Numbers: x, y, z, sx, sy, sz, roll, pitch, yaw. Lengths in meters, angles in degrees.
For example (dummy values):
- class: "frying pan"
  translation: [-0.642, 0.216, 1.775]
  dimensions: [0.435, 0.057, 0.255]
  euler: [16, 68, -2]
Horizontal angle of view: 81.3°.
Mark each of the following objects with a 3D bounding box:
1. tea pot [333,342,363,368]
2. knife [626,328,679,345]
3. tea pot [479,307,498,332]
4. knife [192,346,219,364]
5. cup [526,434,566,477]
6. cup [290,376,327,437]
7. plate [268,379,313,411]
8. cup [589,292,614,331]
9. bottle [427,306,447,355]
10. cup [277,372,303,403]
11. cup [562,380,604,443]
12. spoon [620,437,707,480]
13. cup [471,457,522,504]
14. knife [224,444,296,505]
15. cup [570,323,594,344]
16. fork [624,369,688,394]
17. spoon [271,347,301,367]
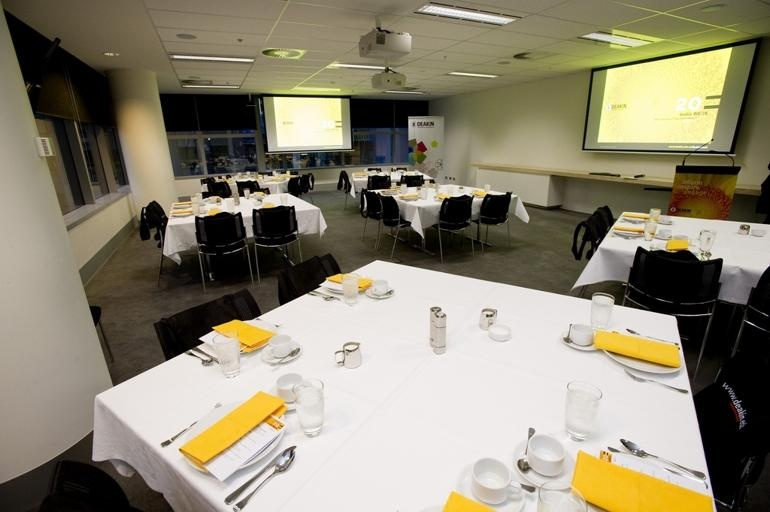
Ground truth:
- class: "tea pot"
  translation: [-0.234, 0.619, 2.884]
  dimensions: [0.174, 0.139, 0.159]
  euler: [-3, 18, -6]
- class: "knife"
  translation: [1.771, 0.533, 2.969]
  dimensions: [0.225, 0.035, 0.032]
  euler: [14, 39, 39]
- class: "tea pot"
  translation: [0.714, 0.430, 3.122]
  dimensions: [0.106, 0.128, 0.140]
  euler: [2, 7, 9]
- class: "knife"
  translation: [-1.178, 0.648, 2.947]
  dimensions: [0.069, 0.051, 0.325]
  euler: [-14, 19, -35]
- class: "cup"
  translation: [0.854, 1.076, 2.448]
  dimensions: [0.202, 0.121, 0.200]
  euler: [-4, 27, 2]
- class: "cup"
  translation: [-0.431, 0.872, 2.601]
  dimensions: [0.177, 0.245, 0.215]
  euler: [-4, 18, -10]
- class: "plate"
  translation: [-0.553, 0.798, 2.660]
  dimensions: [0.141, 0.101, 0.233]
  euler: [3, 9, 11]
- class: "cup"
  translation: [1.498, 0.360, 3.105]
  dimensions: [0.148, 0.230, 0.330]
  euler: [9, 20, 27]
- class: "bottle"
  translation: [0.340, 0.498, 2.935]
  dimensions: [0.108, 0.317, 0.223]
  euler: [-2, 13, -12]
- class: "cup"
  translation: [-0.573, 0.784, 2.740]
  dimensions: [0.147, 0.114, 0.163]
  euler: [0, 16, 0]
- class: "cup"
  translation: [1.125, 0.877, 2.557]
  dimensions: [0.185, 0.260, 0.222]
  euler: [7, 20, 25]
- class: "spoon"
  translation: [1.507, 1.107, 2.437]
  dimensions: [0.307, 0.048, 0.055]
  euler: [22, 44, 29]
- class: "cup"
  translation: [0.571, 1.191, 2.362]
  dimensions: [0.178, 0.154, 0.233]
  euler: [-28, 38, -32]
- class: "knife"
  translation: [-0.638, 1.199, 2.475]
  dimensions: [0.146, 0.083, 0.489]
  euler: [37, 54, 22]
- class: "cup"
  translation: [1.289, 0.518, 2.953]
  dimensions: [0.122, 0.080, 0.128]
  euler: [-3, 8, 0]
- class: "fork"
  translation: [1.653, 0.766, 2.725]
  dimensions: [0.261, 0.041, 0.047]
  euler: [17, 39, 28]
- class: "spoon"
  translation: [-0.626, 0.655, 2.904]
  dimensions: [0.081, 0.026, 0.142]
  euler: [14, 33, 39]
